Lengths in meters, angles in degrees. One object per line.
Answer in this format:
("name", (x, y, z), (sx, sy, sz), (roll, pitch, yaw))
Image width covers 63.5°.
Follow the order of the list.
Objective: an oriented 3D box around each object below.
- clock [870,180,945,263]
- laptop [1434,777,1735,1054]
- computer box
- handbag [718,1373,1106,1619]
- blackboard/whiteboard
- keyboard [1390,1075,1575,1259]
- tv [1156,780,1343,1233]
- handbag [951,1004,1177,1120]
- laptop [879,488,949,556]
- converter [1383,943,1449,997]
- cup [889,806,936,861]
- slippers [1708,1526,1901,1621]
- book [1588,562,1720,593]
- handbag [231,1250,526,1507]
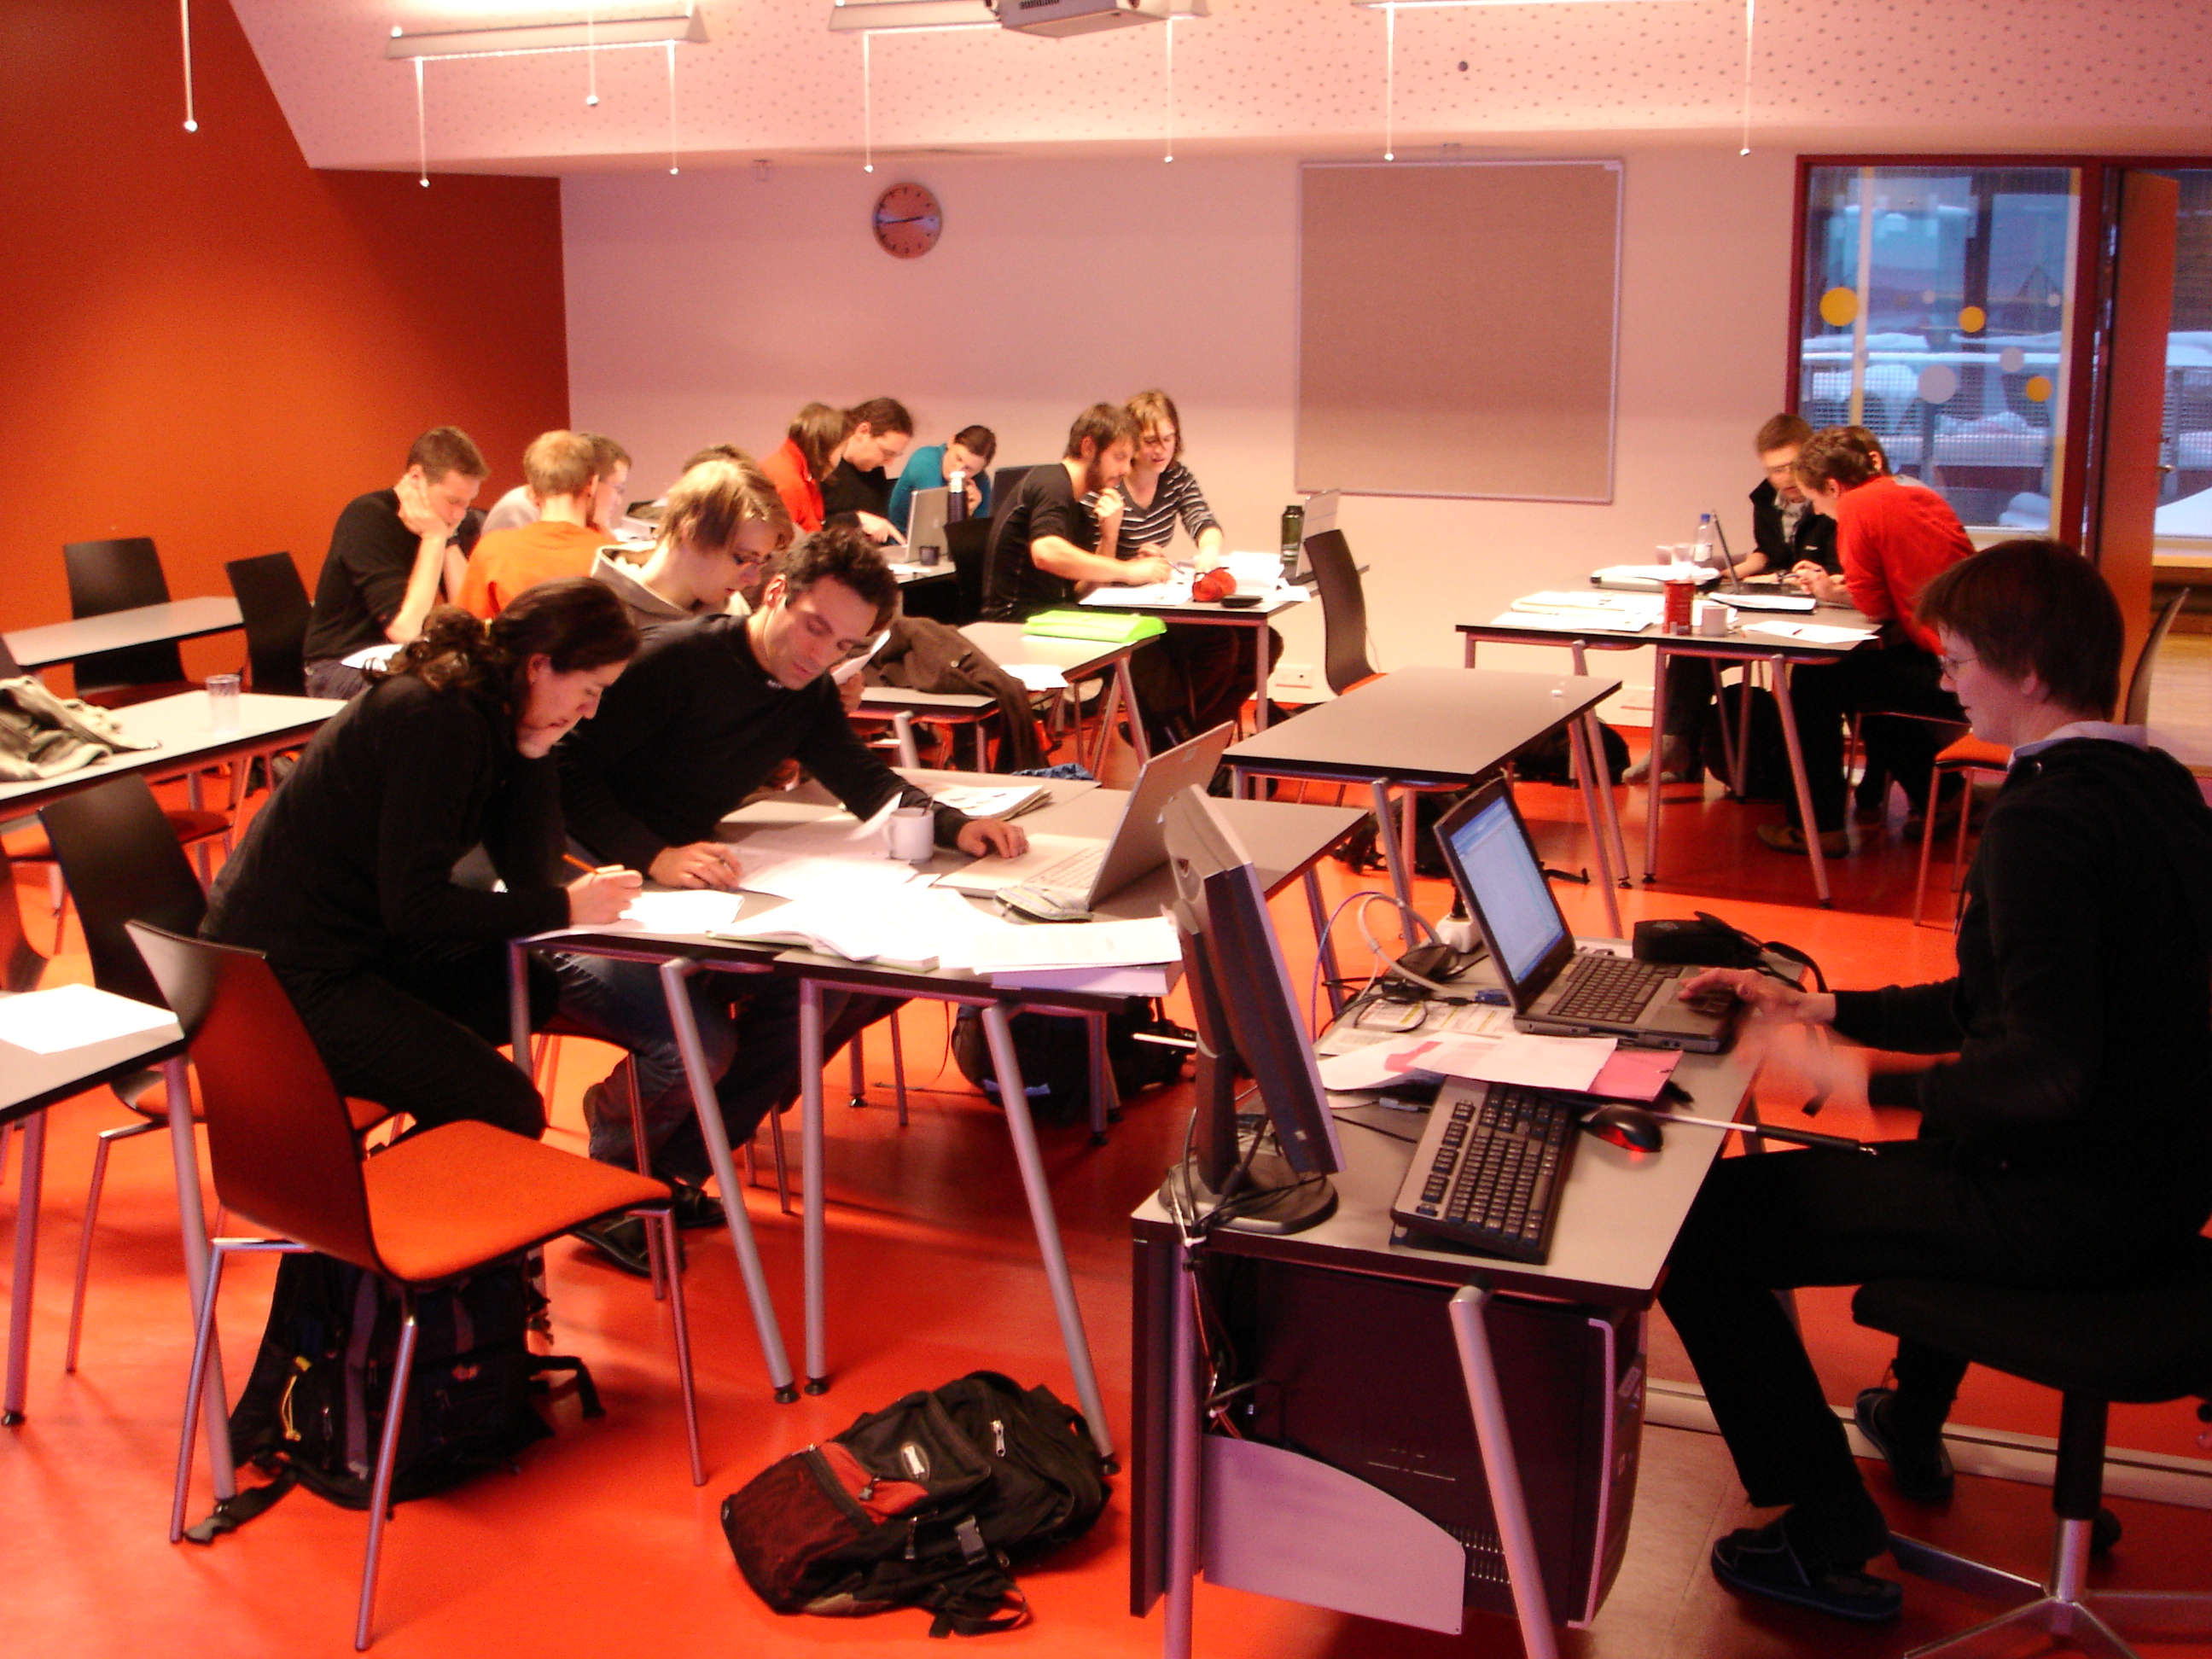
("clock", (-1.057, -3.246, 9.496), (0.393, 0.387, 0.082), (24, 20, 15))
("laptop", (0.813, 0.130, 2.905), (0.457, 0.299, 0.504), (8, 12, 23))
("computer box", (0.414, 0.801, 2.370), (0.526, 0.433, 0.297), (6, 13, 27))
("handbag", (-0.310, 1.116, 2.927), (0.367, 0.117, 0.361), (-9, 22, -26))
("blackboard/whiteboard", (1.767, -2.468, 8.596), (1.877, 1.845, 0.080), (4, 12, 16))
("keyboard", (0.503, 0.453, 2.356), (0.146, 0.054, 0.272), (2, 19, 19))
("tv", (0.178, 0.228, 2.375), (0.232, 0.552, 0.323), (-7, 15, -14))
("handbag", (-0.070, 0.571, 4.598), (0.534, 0.206, 0.406), (-1, 3, -44))
("laptop", (-0.805, -1.305, 7.683), (0.249, 0.235, 0.357), (5, 10, 28))
("converter", (0.544, 0.242, 3.084), (0.063, 0.036, 0.115), (9, 16, 24))
("cup", (-0.383, 0.006, 3.690), (0.073, 0.097, 0.115), (10, 19, 25))
("slippers", (1.067, 1.161, 2.751), (0.267, 0.110, 0.120), (9, 18, 30))
("book", (2.187, -1.010, 7.088), (0.357, 0.082, 0.346), (4, 13, 22))
("handbag", (-1.264, 0.918, 3.159), (0.367, 0.405, 0.355), (8, -4, 21))
